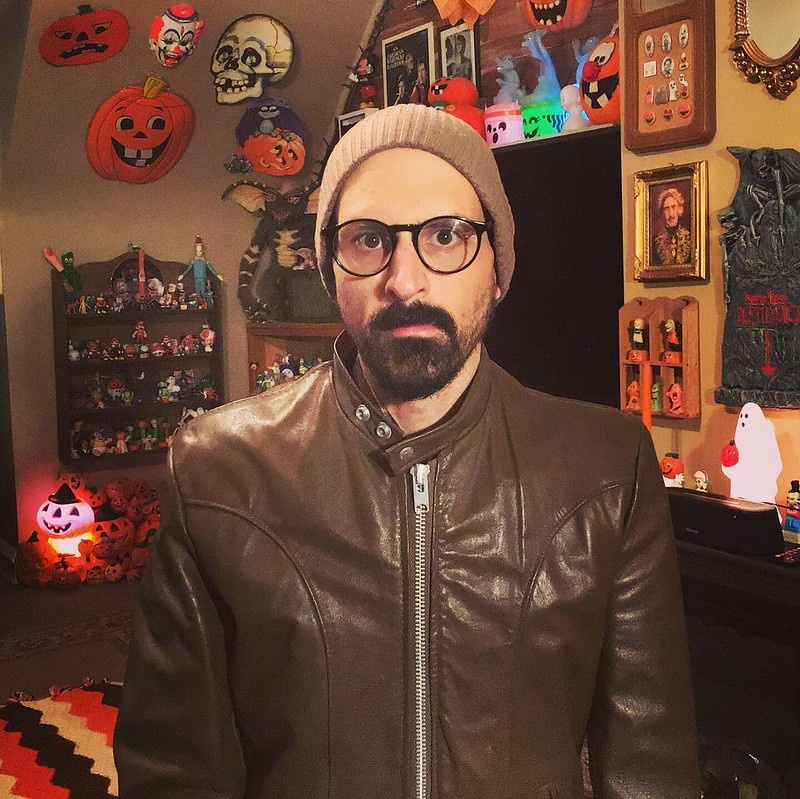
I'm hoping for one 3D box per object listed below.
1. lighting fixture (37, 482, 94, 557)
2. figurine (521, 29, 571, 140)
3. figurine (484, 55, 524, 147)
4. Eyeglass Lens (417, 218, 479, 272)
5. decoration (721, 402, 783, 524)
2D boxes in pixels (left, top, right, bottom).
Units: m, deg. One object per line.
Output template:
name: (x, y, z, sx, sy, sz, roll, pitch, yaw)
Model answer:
lighting fixture: (-2.174, 0.799, 5.102, 0.335, 0.535, 0.375, -7, -13, 20)
figurine: (0.632, -1.383, 3.507, 0.172, 0.485, 0.194, -4, 11, -2)
figurine: (0.475, -1.321, 3.536, 0.175, 0.402, 0.176, -6, 9, -38)
Eyeglass Lens: (0.057, -0.175, 0.895, 0.088, 0.065, 0.020, -14, 9, -27)
decoration: (1.140, 0.177, 2.568, 0.093, 0.322, 0.186, -13, 8, -34)
